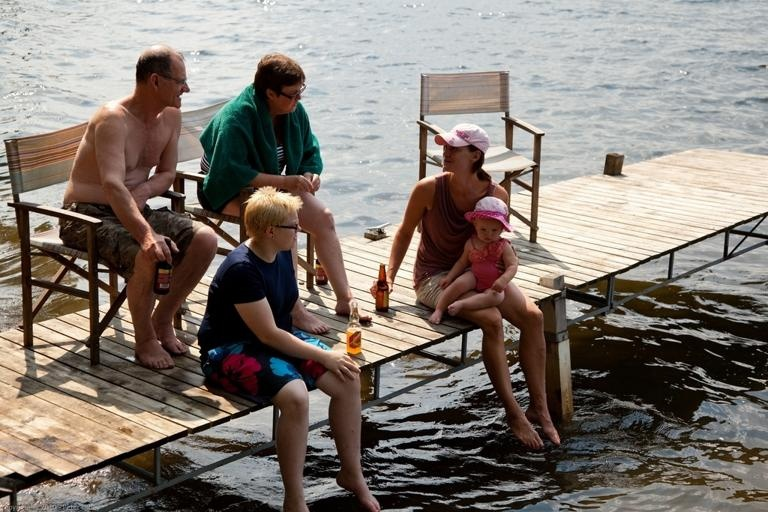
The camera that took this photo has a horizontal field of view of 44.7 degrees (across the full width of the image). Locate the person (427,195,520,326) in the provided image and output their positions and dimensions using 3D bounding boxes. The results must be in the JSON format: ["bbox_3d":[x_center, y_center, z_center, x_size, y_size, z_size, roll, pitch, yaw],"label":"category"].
[{"bbox_3d":[0.706,0.047,7.230,0.658,0.978,0.345,0,18,4],"label":"person"}]

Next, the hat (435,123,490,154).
[{"bbox_3d":[0.687,-0.936,7.420,0.440,0.161,0.241,8,5,-17],"label":"hat"}]

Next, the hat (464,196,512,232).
[{"bbox_3d":[0.834,-0.337,7.219,0.343,0.150,0.323,6,-22,11],"label":"hat"}]

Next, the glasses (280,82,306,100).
[{"bbox_3d":[-0.705,-1.277,7.217,0.187,0.041,0.159,2,24,22],"label":"glasses"}]

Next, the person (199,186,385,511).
[{"bbox_3d":[-0.673,0.692,6.381,0.712,2.254,0.970,-18,24,-40],"label":"person"}]
